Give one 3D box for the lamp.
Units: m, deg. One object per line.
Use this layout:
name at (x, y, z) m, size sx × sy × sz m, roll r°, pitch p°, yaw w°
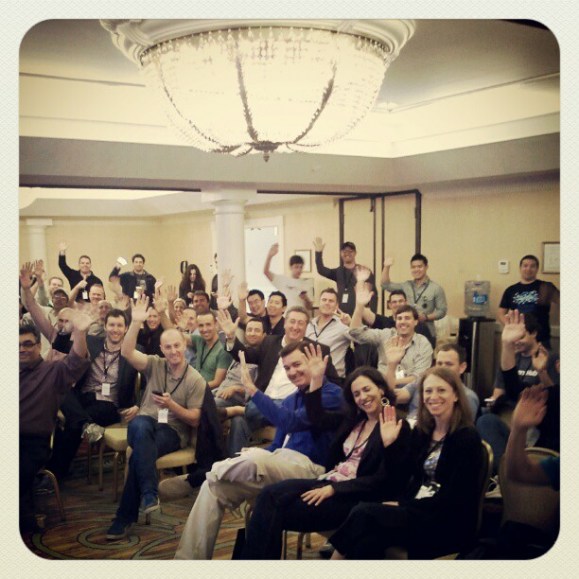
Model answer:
lamp at (-0.150, -1.192, 3.357) m, size 1.125 × 0.538 × 1.180 m, roll -1°, pitch -3°, yaw -6°
